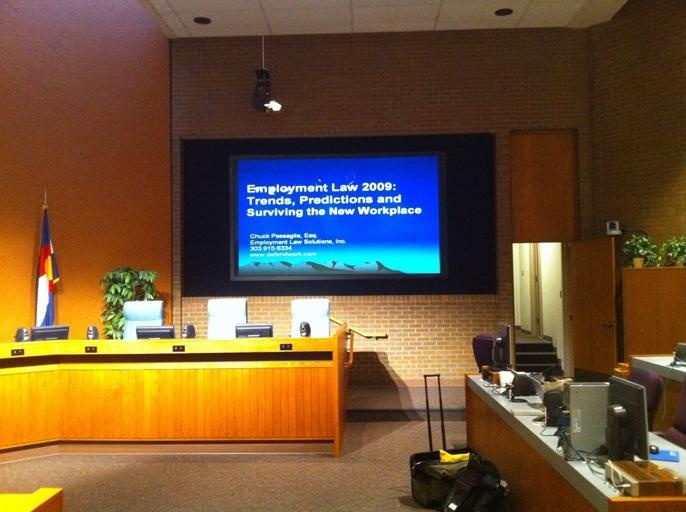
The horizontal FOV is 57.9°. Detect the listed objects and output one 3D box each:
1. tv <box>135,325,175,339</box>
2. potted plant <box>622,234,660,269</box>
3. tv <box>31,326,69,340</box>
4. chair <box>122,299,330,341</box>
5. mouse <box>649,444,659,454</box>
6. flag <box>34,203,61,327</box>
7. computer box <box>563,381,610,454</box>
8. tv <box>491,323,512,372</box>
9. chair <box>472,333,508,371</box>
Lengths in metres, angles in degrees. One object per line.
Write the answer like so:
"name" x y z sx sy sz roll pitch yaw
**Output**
"tv" -2.310 0.904 7.545 0.322 0.176 0.224 1 -5 -4
"potted plant" 4.270 -0.086 9.041 0.482 0.521 0.515 0 -6 0
"tv" -3.612 0.947 7.643 0.411 0.168 0.142 -4 14 -16
"chair" -1.577 0.845 8.374 2.758 0.506 0.590 -1 13 -3
"mouse" 2.694 1.668 5.377 0.079 0.035 0.110 -1 -2 5
"flag" -4.367 0.147 9.086 0.301 1.734 0.680 -2 13 -9
"computer box" 2.141 1.378 5.468 0.444 0.636 0.359 -6 12 0
"tv" 1.770 1.022 6.980 0.171 0.501 0.496 -4 0 3
"chair" 1.985 1.329 8.629 0.452 0.447 0.454 5 -8 36
